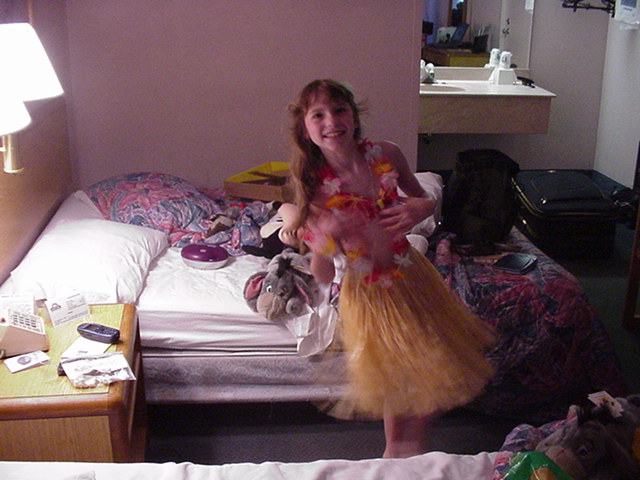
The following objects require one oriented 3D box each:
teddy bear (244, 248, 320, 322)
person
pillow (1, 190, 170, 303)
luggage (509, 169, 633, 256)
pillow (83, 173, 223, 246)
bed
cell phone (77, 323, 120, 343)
[{"bbox_3d":[-0.149,0.105,2.092,0.275,0.387,0.171,17,-16,0],"label":"teddy bear"},{"bbox_3d":[0.244,0.144,1.720,0.690,1.351,0.271,-5,16,-8],"label":"person"},{"bbox_3d":[-0.961,0.047,2.035,0.415,0.108,0.418,17,46,-14],"label":"pillow"},{"bbox_3d":[1.177,-0.149,2.349,0.349,0.180,0.495,-3,31,11],"label":"luggage"},{"bbox_3d":[-0.848,-0.196,2.612,0.454,0.134,0.475,28,29,6],"label":"pillow"},{"bbox_3d":[0.104,0.314,2.116,1.715,0.574,1.183,-5,46,0],"label":"bed"},{"bbox_3d":[-0.745,0.313,1.679,0.131,0.046,0.065,11,40,11],"label":"cell phone"}]
